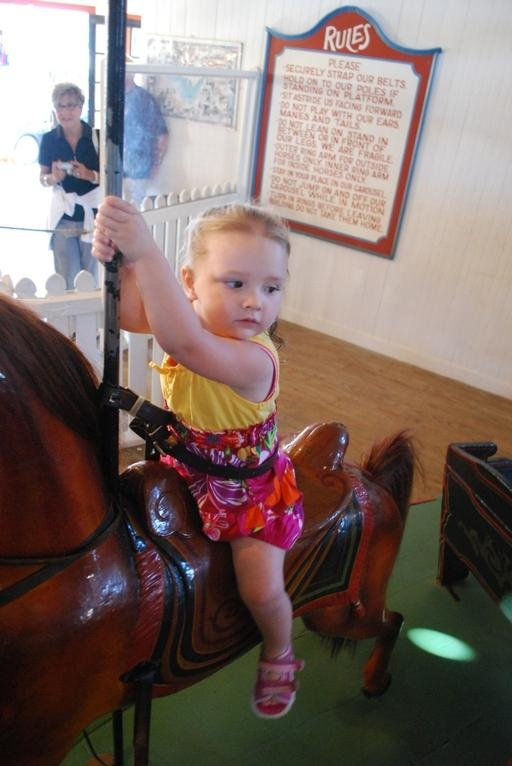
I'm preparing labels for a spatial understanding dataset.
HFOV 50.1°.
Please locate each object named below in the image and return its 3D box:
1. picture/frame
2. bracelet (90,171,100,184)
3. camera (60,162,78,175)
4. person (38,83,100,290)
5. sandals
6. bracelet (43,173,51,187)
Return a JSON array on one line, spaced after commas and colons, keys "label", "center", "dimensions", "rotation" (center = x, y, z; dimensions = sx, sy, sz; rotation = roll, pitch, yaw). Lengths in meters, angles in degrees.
[{"label": "picture/frame", "center": [-0.504, -2.327, 4.243], "dimensions": [0.822, 0.580, 0.031], "rotation": [-13, 35, -34]}, {"label": "bracelet", "center": [-0.811, -1.041, 2.759], "dimensions": [0.033, 0.047, 0.064], "rotation": [3, 12, -16]}, {"label": "camera", "center": [-0.912, -1.040, 2.662], "dimensions": [0.079, 0.081, 0.050], "rotation": [16, 27, 12]}, {"label": "person", "center": [-0.975, -0.938, 2.854], "dimensions": [0.297, 1.104, 0.619], "rotation": [0, 27, -18]}, {"label": "sandals", "center": [0.045, 0.544, 0.980], "dimensions": [0.084, 0.138, 0.051], "rotation": [3, 11, 2]}, {"label": "bracelet", "center": [-1.035, -0.998, 2.708], "dimensions": [0.052, 0.051, 0.053], "rotation": [-4, 27, -11]}]
